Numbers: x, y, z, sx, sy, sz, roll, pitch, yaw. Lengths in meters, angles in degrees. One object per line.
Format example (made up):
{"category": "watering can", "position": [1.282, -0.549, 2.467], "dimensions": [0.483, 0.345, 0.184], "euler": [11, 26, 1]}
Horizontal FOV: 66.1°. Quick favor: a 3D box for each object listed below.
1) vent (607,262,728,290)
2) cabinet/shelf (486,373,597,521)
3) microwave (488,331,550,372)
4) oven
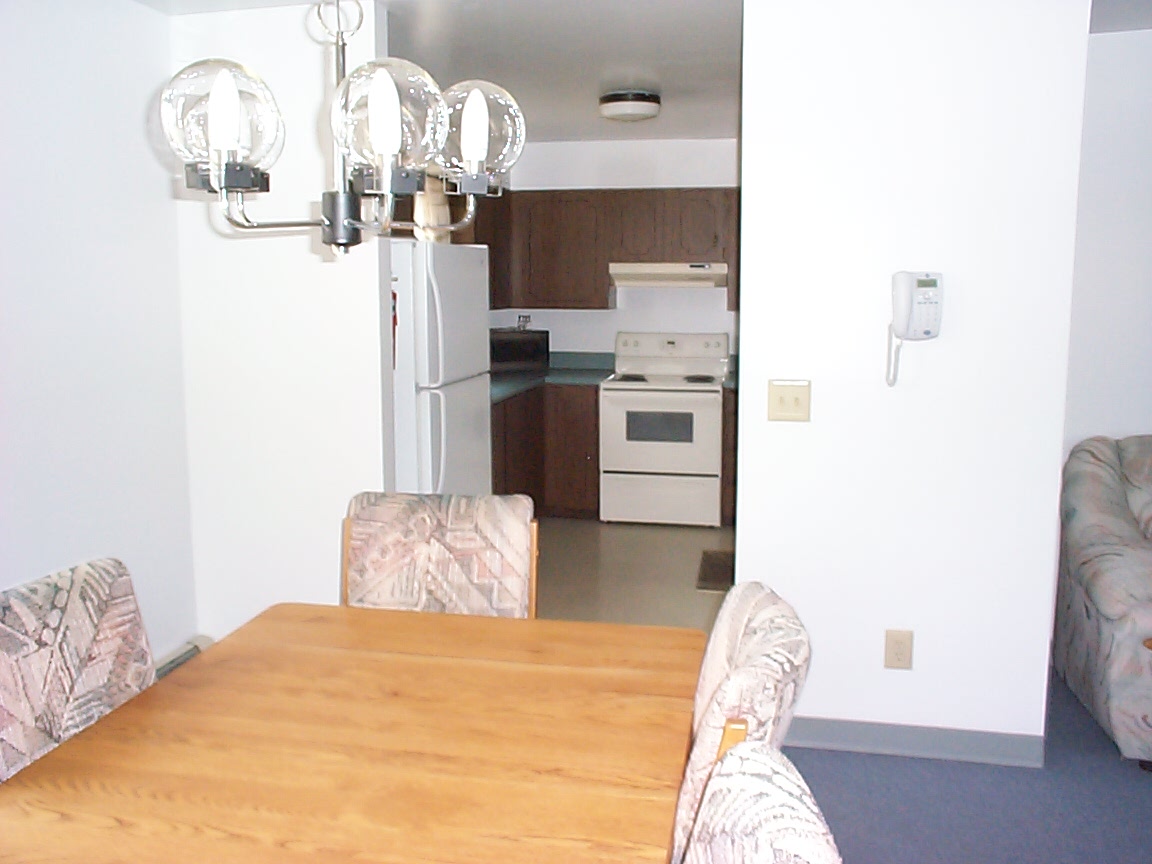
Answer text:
{"category": "vent", "position": [0.628, -1.100, 6.091], "dimensions": [0.794, 0.147, 0.204], "euler": [2, 12, 12]}
{"category": "cabinet/shelf", "position": [-0.213, 0.165, 5.725], "dimensions": [0.687, 1.013, 0.991], "euler": [0, 6, -1]}
{"category": "microwave", "position": [-0.414, -0.594, 6.441], "dimensions": [0.421, 0.295, 0.149], "euler": [-3, 12, -11]}
{"category": "oven", "position": [0.549, 0.242, 6.046], "dimensions": [0.845, 0.993, 0.739], "euler": [-2, -21, 12]}
